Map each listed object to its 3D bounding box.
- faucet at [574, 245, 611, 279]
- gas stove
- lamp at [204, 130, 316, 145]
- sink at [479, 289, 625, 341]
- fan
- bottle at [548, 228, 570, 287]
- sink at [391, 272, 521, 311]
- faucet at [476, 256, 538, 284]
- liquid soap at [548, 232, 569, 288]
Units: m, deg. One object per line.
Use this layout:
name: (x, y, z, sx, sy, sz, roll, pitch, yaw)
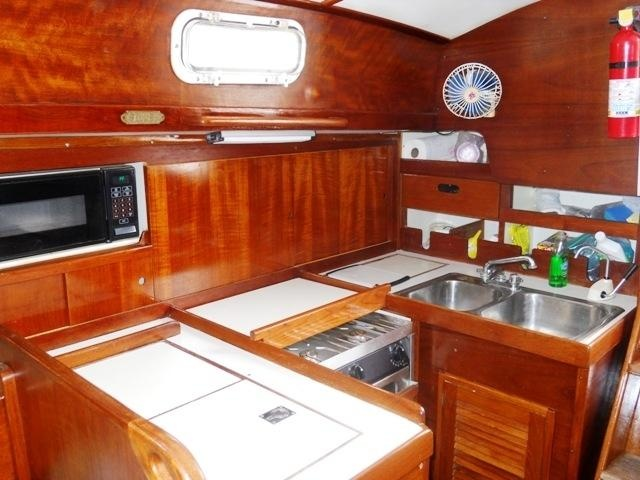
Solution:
faucet: (1.290, 0.114, 2.218, 0.157, 0.190, 0.182, 6, 13, 27)
gas stove: (0.158, 0.581, 2.072, 0.446, 0.351, 0.284, -14, 15, -39)
lamp: (-0.269, -0.455, 2.055, 0.270, 0.072, 0.607, 7, 12, 32)
sink: (1.091, 0.344, 2.137, 0.389, 0.129, 0.322, 11, 23, 42)
fan: (0.809, -0.796, 2.512, 0.102, 0.291, 0.302, -10, 15, -40)
bottle: (1.193, 0.098, 2.325, 0.093, 0.262, 0.139, 6, 13, 25)
sink: (0.742, 0.284, 2.378, 0.324, 0.109, 0.273, -22, 27, -37)
faucet: (0.927, 0.139, 2.387, 0.132, 0.093, 0.296, -20, 17, -34)
liquid soap: (1.193, 0.098, 2.325, 0.094, 0.262, 0.139, 6, 13, 25)
